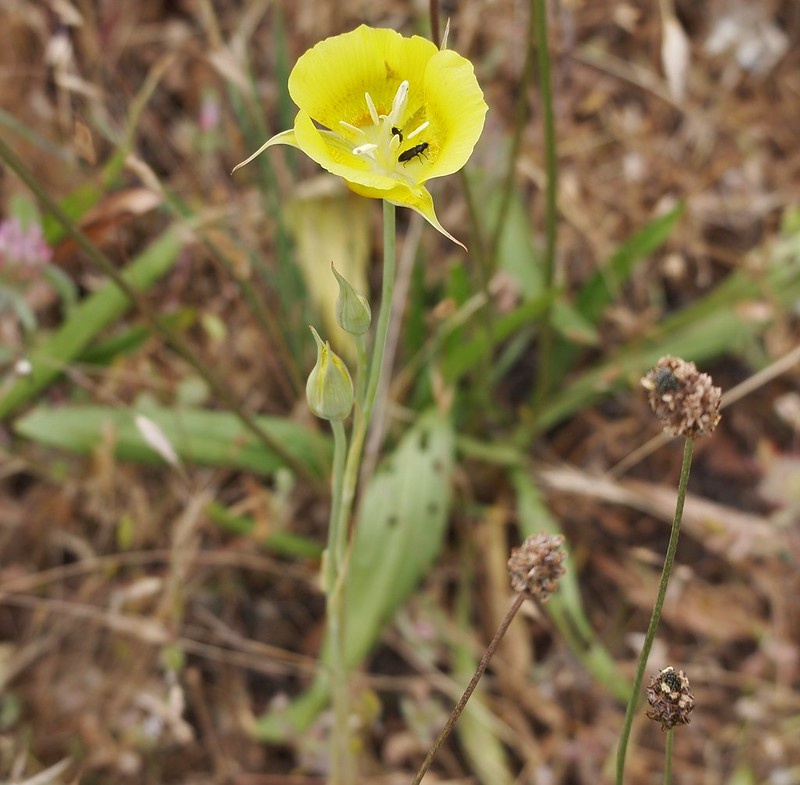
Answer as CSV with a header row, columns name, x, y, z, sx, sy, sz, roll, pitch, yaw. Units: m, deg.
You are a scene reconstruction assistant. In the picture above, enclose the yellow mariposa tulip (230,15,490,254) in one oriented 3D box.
name,x,y,z,sx,sy,sz,roll,pitch,yaw
yellow mariposa tulip,-0.064,-0.426,2.258,0.388,0.204,0.520,16,65,2
